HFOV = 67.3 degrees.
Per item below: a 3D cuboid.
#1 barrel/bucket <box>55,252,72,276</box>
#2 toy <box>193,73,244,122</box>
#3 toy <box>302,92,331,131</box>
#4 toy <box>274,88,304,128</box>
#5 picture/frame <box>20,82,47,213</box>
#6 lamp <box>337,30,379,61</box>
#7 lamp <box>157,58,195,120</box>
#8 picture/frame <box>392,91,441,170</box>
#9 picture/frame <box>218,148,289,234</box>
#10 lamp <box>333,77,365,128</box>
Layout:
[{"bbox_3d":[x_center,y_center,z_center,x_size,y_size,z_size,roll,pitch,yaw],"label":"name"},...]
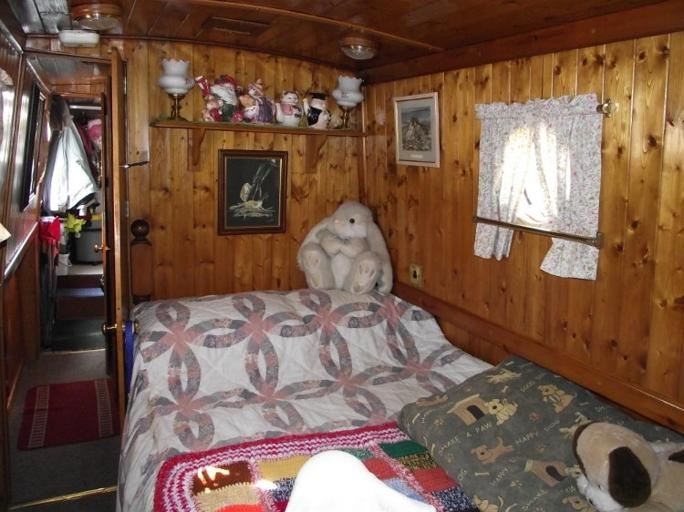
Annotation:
[{"bbox_3d":[-2.917,0.094,5.403,0.181,0.228,0.223,-3,9,-21],"label":"barrel/bucket"},{"bbox_3d":[-0.724,-0.924,3.050,0.262,0.261,0.102,-3,13,-18],"label":"toy"},{"bbox_3d":[-0.171,-0.915,3.283,0.238,0.246,0.151,-3,18,-16],"label":"toy"},{"bbox_3d":[-0.330,-0.915,3.243,0.194,0.215,0.203,-3,14,-18],"label":"toy"},{"bbox_3d":[-2.112,-0.751,3.503,0.034,0.744,0.722,6,22,-21],"label":"picture/frame"},{"bbox_3d":[0.083,-1.068,2.632,0.174,0.095,0.158,-9,17,-38],"label":"lamp"},{"bbox_3d":[-0.953,-0.945,2.963,0.193,0.325,0.202,-3,13,-18],"label":"lamp"},{"bbox_3d":[0.448,-0.730,2.990,0.031,0.468,0.442,-5,9,-29],"label":"picture/frame"},{"bbox_3d":[-0.583,-0.423,3.265,0.505,0.628,0.045,-1,8,-26],"label":"picture/frame"},{"bbox_3d":[0.043,-1.006,3.389,0.197,0.335,0.271,2,13,2],"label":"lamp"}]
